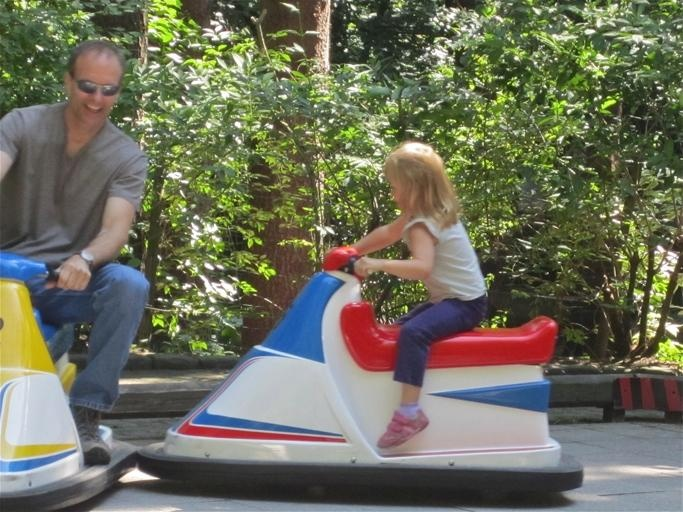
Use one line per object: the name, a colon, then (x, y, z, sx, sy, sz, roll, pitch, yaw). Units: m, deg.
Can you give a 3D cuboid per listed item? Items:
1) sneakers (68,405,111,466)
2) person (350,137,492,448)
sneakers: (-1.276, 0.923, 4.917, 0.203, 0.290, 0.256, 5, 6, 30)
person: (0.416, 0.192, 5.180, 0.658, 1.645, 0.440, -3, 8, -41)
